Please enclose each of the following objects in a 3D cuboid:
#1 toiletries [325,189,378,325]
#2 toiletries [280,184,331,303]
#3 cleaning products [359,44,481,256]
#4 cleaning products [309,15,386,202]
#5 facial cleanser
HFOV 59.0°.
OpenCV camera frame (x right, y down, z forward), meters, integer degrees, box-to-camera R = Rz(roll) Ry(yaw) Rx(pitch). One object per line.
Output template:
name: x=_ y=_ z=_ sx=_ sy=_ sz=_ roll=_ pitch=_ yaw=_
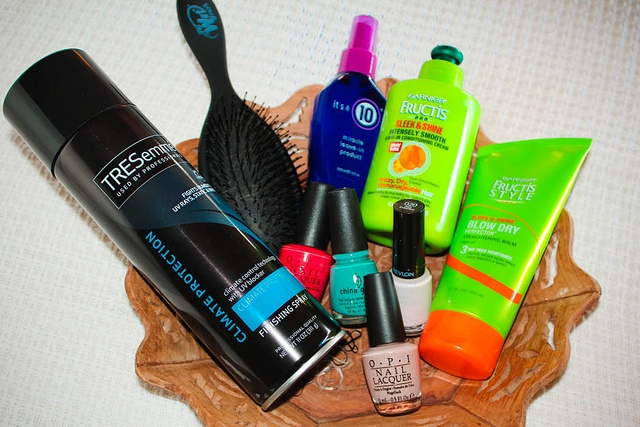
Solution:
toiletries: x=0.039 y=0.060 z=0.824 sx=0.078 sy=0.186 sz=0.082 roll=1 pitch=5 yaw=13
toiletries: x=-0.015 y=0.040 z=0.847 sx=0.076 sy=0.126 sz=0.131 roll=11 pitch=46 yaw=13
cleaning products: x=0.148 y=-0.101 z=0.931 sx=0.167 sy=0.322 sz=0.155 roll=3 pitch=8 yaw=3
cleaning products: x=0.041 y=-0.162 z=0.915 sx=0.129 sy=0.299 sz=0.072 roll=6 pitch=7 yaw=-21
facial cleanser: x=0.255 y=0.047 z=0.856 sx=0.192 sy=0.421 sz=0.160 roll=-4 pitch=10 yaw=-27
